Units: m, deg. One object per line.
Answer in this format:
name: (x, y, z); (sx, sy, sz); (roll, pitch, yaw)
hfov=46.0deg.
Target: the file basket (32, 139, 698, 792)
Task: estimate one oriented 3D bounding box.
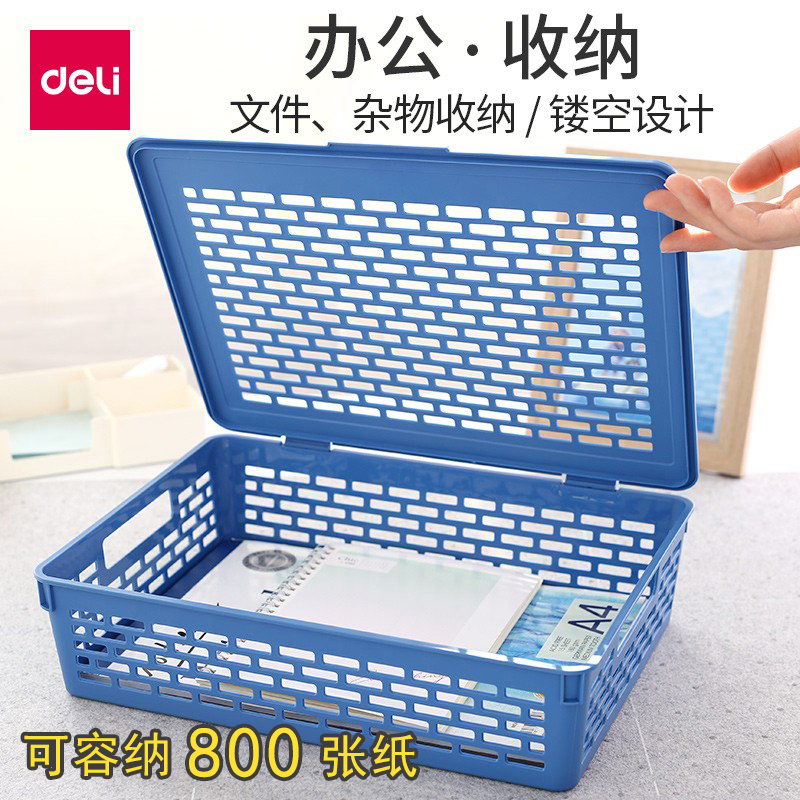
file basket: (-0.018, 0.075, 0.926); (0.721, 0.544, 0.411); (8, 29, 17)
